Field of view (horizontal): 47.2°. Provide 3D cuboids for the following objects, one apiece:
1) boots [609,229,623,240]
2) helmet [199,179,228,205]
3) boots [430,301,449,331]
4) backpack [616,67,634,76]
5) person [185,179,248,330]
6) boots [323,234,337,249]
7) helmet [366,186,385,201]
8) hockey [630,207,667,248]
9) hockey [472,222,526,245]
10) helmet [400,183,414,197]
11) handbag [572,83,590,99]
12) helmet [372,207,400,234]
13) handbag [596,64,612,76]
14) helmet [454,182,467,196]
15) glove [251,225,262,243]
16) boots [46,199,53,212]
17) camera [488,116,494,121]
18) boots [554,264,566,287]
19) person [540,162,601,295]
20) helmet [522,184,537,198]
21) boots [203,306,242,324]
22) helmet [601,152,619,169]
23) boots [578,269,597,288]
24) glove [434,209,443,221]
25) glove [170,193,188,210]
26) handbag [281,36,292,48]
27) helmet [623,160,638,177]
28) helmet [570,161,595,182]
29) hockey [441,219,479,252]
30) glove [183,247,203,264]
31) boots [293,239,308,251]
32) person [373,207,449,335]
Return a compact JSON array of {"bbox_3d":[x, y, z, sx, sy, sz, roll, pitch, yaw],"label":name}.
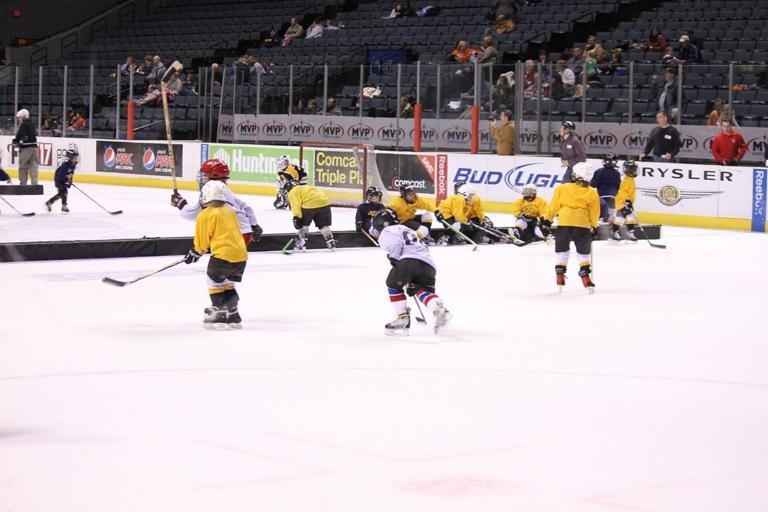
[{"bbox_3d":[3.763,-0.347,14.316,0.234,0.235,0.201,5,8,26],"label":"boots"},{"bbox_3d":[-1.624,-0.600,8.439,0.288,0.232,0.221,8,11,41],"label":"helmet"},{"bbox_3d":[0.508,0.564,7.853,0.123,0.272,0.146,0,8,-16],"label":"boots"},{"bbox_3d":[4.501,-3.422,16.376,0.311,0.282,0.100,1,2,24],"label":"backpack"},{"bbox_3d":[-1.540,-0.026,8.347,0.473,1.342,0.566,-1,8,-20],"label":"person"},{"bbox_3d":[-0.797,-0.188,13.322,0.095,0.260,0.130,8,29,14],"label":"boots"},{"bbox_3d":[-0.103,-0.767,10.830,0.209,0.169,0.159,-7,11,6],"label":"helmet"},{"bbox_3d":[4.155,-0.329,13.843,0.590,0.529,0.161,-1,-17,-17],"label":"hockey"},{"bbox_3d":[1.815,-0.328,13.953,0.839,0.095,0.121,18,-31,4],"label":"hockey"},{"bbox_3d":[0.296,-0.869,11.751,0.163,0.144,0.127,-26,9,23],"label":"helmet"},{"bbox_3d":[3.700,-3.084,16.523,0.269,0.294,0.115,12,-4,25],"label":"handbag"},{"bbox_3d":[0.015,-0.380,8.754,0.259,0.243,0.207,-2,32,22],"label":"helmet"},{"bbox_3d":[4.229,-3.503,16.765,0.313,0.197,0.070,-3,-12,11],"label":"handbag"},{"bbox_3d":[1.175,-1.025,13.516,0.133,0.169,0.302,-2,8,-25],"label":"helmet"},{"bbox_3d":[-1.495,-0.266,10.366,0.137,0.176,0.071,4,41,3],"label":"glove"},{"bbox_3d":[-6.441,-0.953,16.945,0.119,0.263,0.091,-18,-32,-7],"label":"boots"},{"bbox_3d":[2.150,-2.728,17.545,0.026,0.089,0.141,-6,10,-43],"label":"camera"},{"bbox_3d":[2.065,0.238,10.258,0.102,0.247,0.183,2,8,4],"label":"boots"},{"bbox_3d":[2.237,-0.370,10.443,0.585,1.437,0.768,3,8,10],"label":"person"},{"bbox_3d":[2.295,-1.014,13.817,0.232,0.194,0.172,23,-23,-34],"label":"helmet"},{"bbox_3d":[-1.500,0.558,8.189,0.346,0.151,0.151,3,-1,8],"label":"boots"},{"bbox_3d":[3.683,-1.528,14.281,0.203,0.193,0.328,4,8,13],"label":"helmet"},{"bbox_3d":[2.366,0.270,10.223,0.152,0.232,0.112,-23,-7,25],"label":"boots"},{"bbox_3d":[0.835,-0.620,13.425,0.138,0.071,0.194,40,-5,45],"label":"glove"},{"bbox_3d":[-2.255,-0.575,9.701,0.200,0.089,0.308,-6,34,-33],"label":"glove"},{"bbox_3d":[-2.717,-6.053,24.843,0.337,0.314,0.142,4,-17,31],"label":"handbag"},{"bbox_3d":[3.947,-1.384,14.118,0.207,0.229,0.240,4,8,17],"label":"helmet"},{"bbox_3d":[2.375,-1.008,10.537,0.303,0.238,0.218,-10,8,9],"label":"helmet"},{"bbox_3d":[1.190,-0.325,13.775,0.636,0.161,0.234,34,0,38],"label":"hockey"},{"bbox_3d":[-1.932,0.015,8.893,0.247,0.080,0.232,-1,-8,-13],"label":"glove"},{"bbox_3d":[-1.255,-0.168,13.249,0.205,0.187,0.172,1,8,-7],"label":"boots"},{"bbox_3d":[0.235,0.150,8.306,0.648,1.066,1.174,1,8,-3],"label":"person"}]
